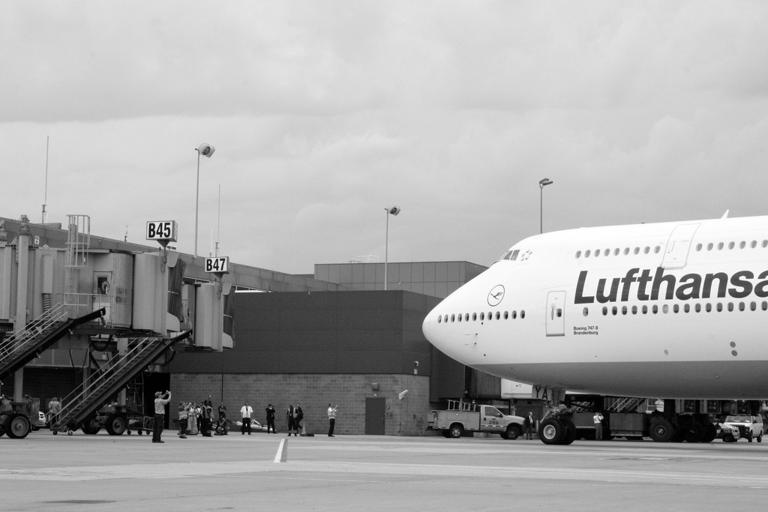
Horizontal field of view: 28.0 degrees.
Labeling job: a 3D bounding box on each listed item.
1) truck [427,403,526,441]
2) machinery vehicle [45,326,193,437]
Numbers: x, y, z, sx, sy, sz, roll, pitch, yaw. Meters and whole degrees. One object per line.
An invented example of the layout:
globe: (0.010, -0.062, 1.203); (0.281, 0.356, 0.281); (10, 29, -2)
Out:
truck: (4.675, 8.585, 79.486); (4.193, 1.563, 1.999); (-1, -2, -1)
machinery vehicle: (-12.141, 6.235, 69.071); (4.164, 4.948, 6.797); (3, 3, -1)
